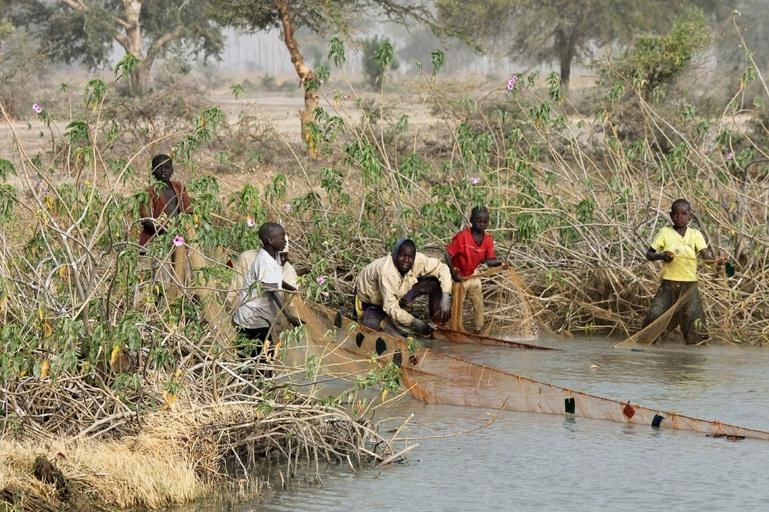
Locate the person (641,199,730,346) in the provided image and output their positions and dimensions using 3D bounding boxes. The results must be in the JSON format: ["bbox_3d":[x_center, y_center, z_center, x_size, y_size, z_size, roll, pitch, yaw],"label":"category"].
[{"bbox_3d":[4.029,0.229,14.029,0.976,1.996,0.658,-2,6,-3],"label":"person"}]

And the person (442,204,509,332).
[{"bbox_3d":[1.215,0.215,14.210,0.757,1.759,0.548,-7,8,-39],"label":"person"}]

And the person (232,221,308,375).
[{"bbox_3d":[-1.317,0.533,11.651,0.610,0.757,1.794,0,-36,-14],"label":"person"}]

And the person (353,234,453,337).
[{"bbox_3d":[0.306,0.367,13.404,0.938,1.246,1.225,3,8,43],"label":"person"}]

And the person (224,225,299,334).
[{"bbox_3d":[-1.414,0.305,11.781,0.487,0.571,1.213,4,-37,-9],"label":"person"}]
